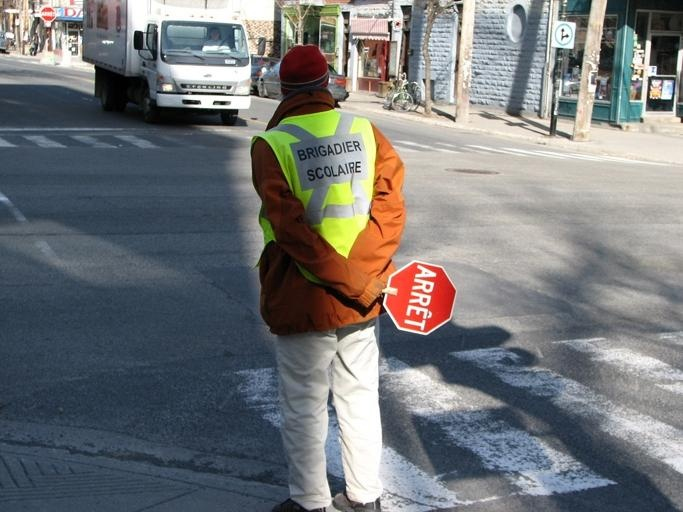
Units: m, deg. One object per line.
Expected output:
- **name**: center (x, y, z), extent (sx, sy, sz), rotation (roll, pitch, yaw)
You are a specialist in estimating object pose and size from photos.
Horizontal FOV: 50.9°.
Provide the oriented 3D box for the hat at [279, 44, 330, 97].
- **hat**: center (-0.186, -0.970, 3.769), extent (0.242, 0.231, 0.256), rotation (12, 28, 23)
